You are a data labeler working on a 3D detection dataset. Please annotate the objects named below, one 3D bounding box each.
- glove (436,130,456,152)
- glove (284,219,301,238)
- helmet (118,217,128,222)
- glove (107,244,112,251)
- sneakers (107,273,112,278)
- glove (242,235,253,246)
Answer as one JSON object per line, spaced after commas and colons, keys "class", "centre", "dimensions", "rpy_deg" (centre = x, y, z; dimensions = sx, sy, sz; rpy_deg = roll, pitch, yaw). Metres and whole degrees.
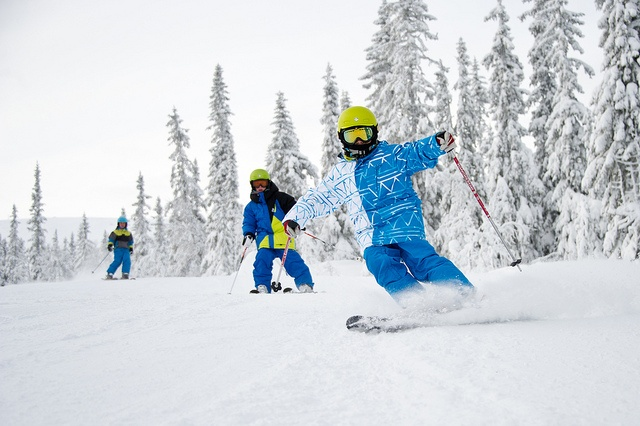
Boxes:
{"class": "glove", "centre": [1.654, -0.942, 6.807], "dimensions": [0.280, 0.294, 0.211], "rpy_deg": [-11, -12, 35]}
{"class": "glove", "centre": [-0.404, 0.215, 7.839], "dimensions": [0.190, 0.271, 0.258], "rpy_deg": [-2, 15, 3]}
{"class": "helmet", "centre": [-5.900, 0.178, 15.619], "dimensions": [0.268, 0.196, 0.386], "rpy_deg": [9, -1, -24]}
{"class": "glove", "centre": [-6.359, 1.025, 15.855], "dimensions": [0.119, 0.172, 0.161], "rpy_deg": [1, 9, -12]}
{"class": "sneakers", "centre": [-6.327, 1.874, 15.726], "dimensions": [0.166, 0.053, 0.125], "rpy_deg": [-10, 15, -33]}
{"class": "glove", "centre": [-1.384, 0.511, 10.072], "dimensions": [0.139, 0.206, 0.193], "rpy_deg": [15, 3, 14]}
